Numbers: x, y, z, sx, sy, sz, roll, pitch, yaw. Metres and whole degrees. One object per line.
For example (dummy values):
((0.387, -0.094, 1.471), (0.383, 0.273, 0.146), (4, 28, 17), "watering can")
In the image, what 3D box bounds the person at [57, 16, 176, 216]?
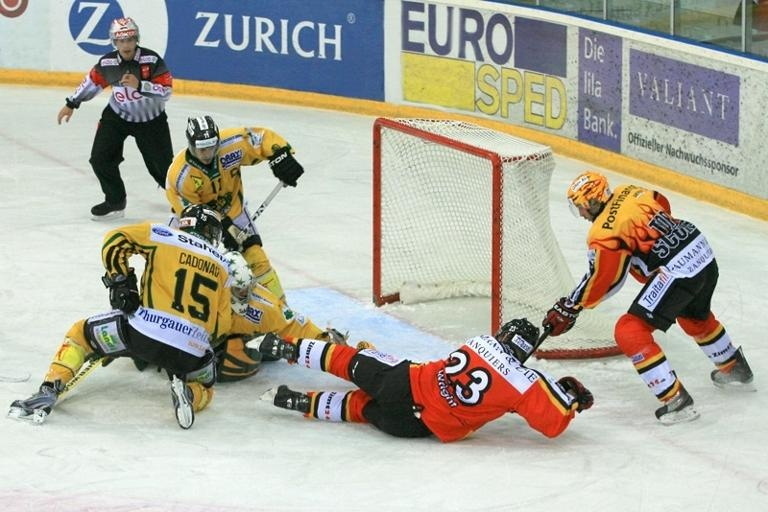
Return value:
((-2.366, -1.235, 8.683), (0.949, 1.764, 0.515), (4, 17, 5), "person")

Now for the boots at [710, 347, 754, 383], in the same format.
((2.268, 0.714, 6.291), (0.305, 0.272, 0.138), (-3, 27, 36), "boots")

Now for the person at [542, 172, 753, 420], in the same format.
((1.691, 0.249, 6.049), (1.309, 1.438, 0.717), (5, 16, 8), "person")

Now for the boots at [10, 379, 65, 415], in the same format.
((-2.047, 0.847, 5.676), (0.201, 0.104, 0.253), (6, 10, 24), "boots")

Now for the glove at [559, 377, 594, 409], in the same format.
((1.149, 0.802, 5.673), (0.219, 0.076, 0.162), (34, 9, 11), "glove")

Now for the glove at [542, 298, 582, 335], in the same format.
((1.134, 0.391, 6.113), (0.270, 0.196, 0.108), (-44, -14, 18), "glove")

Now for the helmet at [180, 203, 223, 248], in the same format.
((-1.168, -0.195, 6.073), (0.306, 0.260, 0.242), (12, -13, -35), "helmet")

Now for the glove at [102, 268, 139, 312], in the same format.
((-1.589, 0.207, 5.825), (0.213, 0.280, 0.231), (-16, 2, -23), "glove")

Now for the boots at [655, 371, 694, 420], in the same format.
((1.772, 0.872, 5.908), (0.282, 0.236, 0.128), (-3, 10, -17), "boots")

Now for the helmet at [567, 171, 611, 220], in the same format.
((1.349, -0.368, 6.207), (0.300, 0.308, 0.244), (-21, 16, 18), "helmet")

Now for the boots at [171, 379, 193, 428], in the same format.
((-1.180, 0.874, 5.682), (0.127, 0.299, 0.148), (-11, -13, 0), "boots")

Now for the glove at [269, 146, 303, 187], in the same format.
((-0.710, -0.637, 7.029), (0.237, 0.308, 0.134), (-36, 8, -5), "glove")

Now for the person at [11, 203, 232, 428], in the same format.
((-1.559, 0.313, 5.891), (1.272, 1.325, 0.901), (8, -7, -7), "person")

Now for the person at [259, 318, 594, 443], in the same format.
((0.235, 0.769, 5.663), (1.515, 0.532, 0.806), (-4, 19, -7), "person")

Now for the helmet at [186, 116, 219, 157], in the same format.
((-1.271, -0.852, 6.685), (0.250, 0.260, 0.300), (-12, 23, -17), "helmet")

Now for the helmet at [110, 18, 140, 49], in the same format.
((-2.293, -1.960, 8.445), (0.225, 0.237, 0.219), (-2, 16, -16), "helmet")
